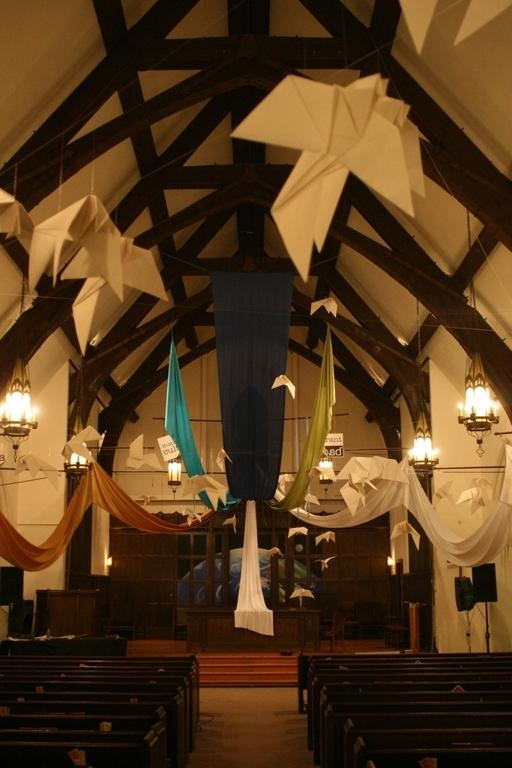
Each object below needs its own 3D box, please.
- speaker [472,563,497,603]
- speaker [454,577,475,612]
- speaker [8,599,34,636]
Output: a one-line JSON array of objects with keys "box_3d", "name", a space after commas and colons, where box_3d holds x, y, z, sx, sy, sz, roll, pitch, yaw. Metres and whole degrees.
[{"box_3d": [3.128, 2.746, 10.517, 0.310, 0.553, 0.726, -4, -19, 16], "name": "speaker"}, {"box_3d": [3.047, 3.100, 11.244, 0.242, 0.522, 0.862, -3, -19, 14], "name": "speaker"}, {"box_3d": [-3.668, 3.680, 11.904, 0.336, 0.625, 1.422, 5, -20, -13], "name": "speaker"}]
